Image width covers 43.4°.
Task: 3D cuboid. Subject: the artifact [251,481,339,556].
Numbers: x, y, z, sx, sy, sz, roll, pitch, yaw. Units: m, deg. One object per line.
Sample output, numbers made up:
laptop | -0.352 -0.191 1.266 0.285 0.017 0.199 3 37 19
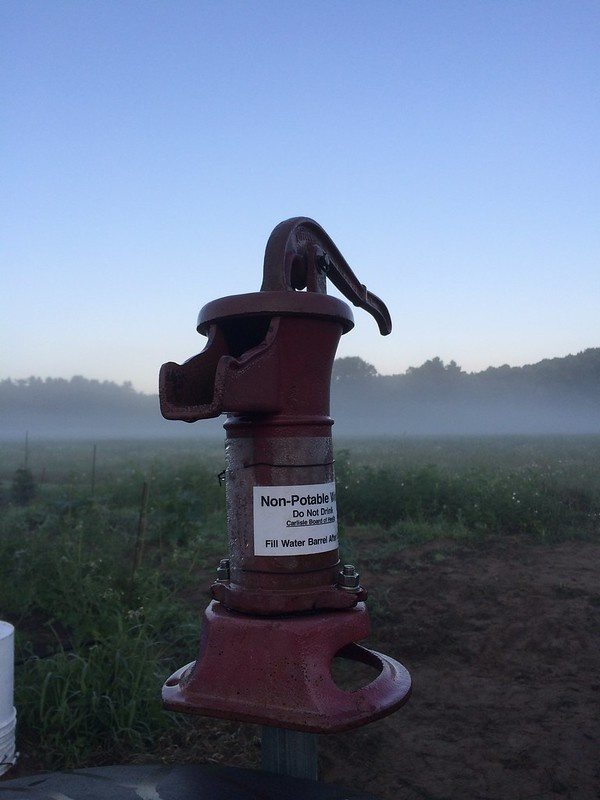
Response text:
artifact | -0.006 0.386 2.439 0.249 0.175 0.248 1 -9 -15

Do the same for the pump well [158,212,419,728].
pump well | -0.061 0.185 2.463 0.832 1.607 0.706 -3 5 -16
